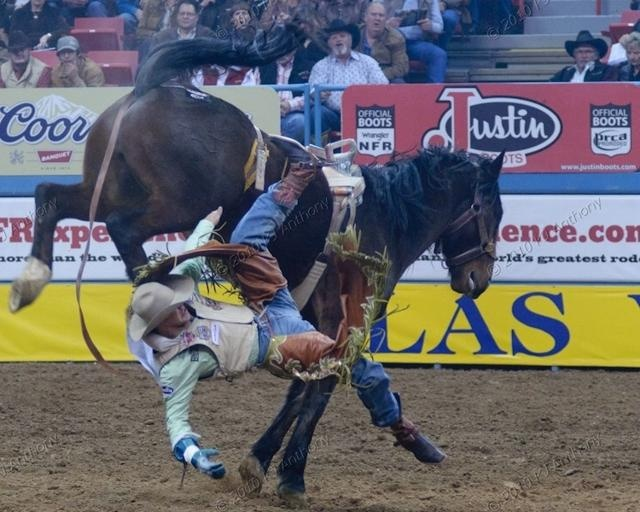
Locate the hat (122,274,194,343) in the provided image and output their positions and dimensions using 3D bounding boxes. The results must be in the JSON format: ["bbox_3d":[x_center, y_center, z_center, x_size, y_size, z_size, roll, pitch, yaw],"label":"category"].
[{"bbox_3d":[-1.150,0.367,11.547,0.481,0.467,0.249,0,12,-7],"label":"hat"}]

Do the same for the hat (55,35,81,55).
[{"bbox_3d":[-2.503,-2.099,15.869,0.172,0.132,0.228,-2,-1,2],"label":"hat"}]

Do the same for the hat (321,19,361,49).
[{"bbox_3d":[0.158,-1.872,13.395,0.330,0.126,0.356,-1,-26,-2],"label":"hat"}]

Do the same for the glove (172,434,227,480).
[{"bbox_3d":[-0.840,1.462,11.415,0.267,0.180,0.399,-35,50,-25],"label":"glove"}]

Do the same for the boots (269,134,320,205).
[{"bbox_3d":[-0.199,-0.781,12.332,0.297,0.436,0.468,-3,19,-23],"label":"boots"}]
